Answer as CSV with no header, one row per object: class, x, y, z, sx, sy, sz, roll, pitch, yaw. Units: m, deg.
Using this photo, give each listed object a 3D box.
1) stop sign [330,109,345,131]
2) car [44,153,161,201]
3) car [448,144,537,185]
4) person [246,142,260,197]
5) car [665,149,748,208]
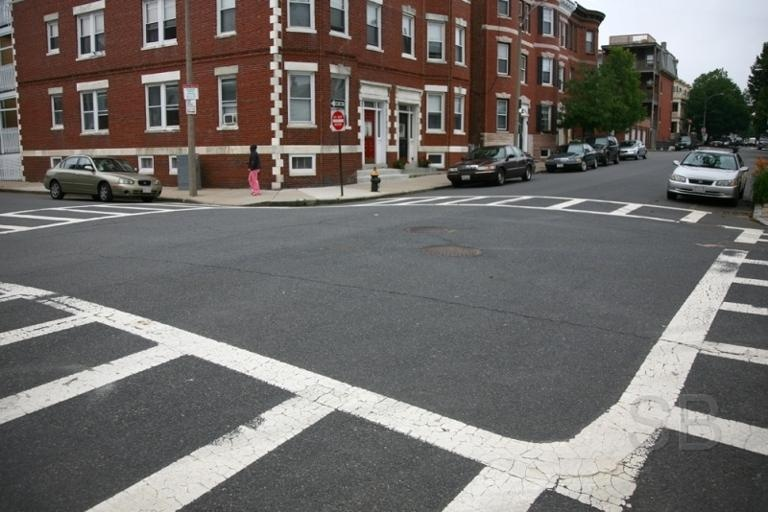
stop sign,-1.722,-5.116,24.236,0.427,0.778,1.097,-1,13,0
car,-10.801,-2.968,24.394,4.534,1.692,1.414,7,14,30
car,4.873,-4.061,29.203,2.037,1.741,4.728,9,17,38
person,-5.115,-3.402,25.290,0.386,1.969,1.154,-3,12,-10
car,10.969,-2.580,21.701,2.002,1.677,2.507,10,17,41
